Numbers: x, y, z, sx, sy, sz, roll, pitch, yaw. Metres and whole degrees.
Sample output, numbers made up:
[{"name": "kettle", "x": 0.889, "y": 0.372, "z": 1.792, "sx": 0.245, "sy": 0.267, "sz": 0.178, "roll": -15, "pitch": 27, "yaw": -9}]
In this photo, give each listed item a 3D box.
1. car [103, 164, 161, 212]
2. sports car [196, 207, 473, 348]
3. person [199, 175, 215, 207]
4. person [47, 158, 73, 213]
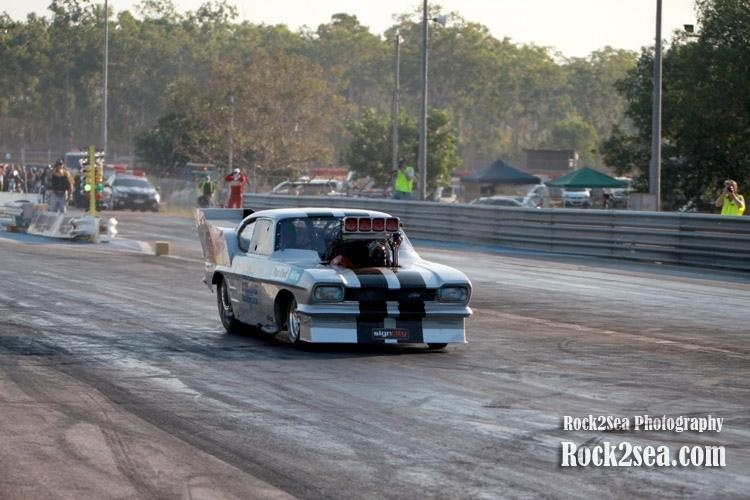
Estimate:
[{"name": "car", "x": -11.458, "y": -2.615, "z": 46.497, "sx": 2.514, "sy": 1.570, "sz": 1.974, "roll": 2, "pitch": 8, "yaw": 6}, {"name": "sports car", "x": -0.998, "y": 0.341, "z": 13.862, "sx": 1.937, "sy": 1.089, "sz": 3.260, "roll": 1, "pitch": -1, "yaw": -30}, {"name": "person", "x": -8.271, "y": -2.744, "z": 48.494, "sx": 0.562, "sy": 1.249, "sz": 2.563, "roll": -1, "pitch": 8, "yaw": -12}, {"name": "person", "x": -9.483, "y": -1.888, "z": 29.666, "sx": 0.654, "sy": 1.553, "sz": 1.092, "roll": -2, "pitch": 9, "yaw": -18}]
